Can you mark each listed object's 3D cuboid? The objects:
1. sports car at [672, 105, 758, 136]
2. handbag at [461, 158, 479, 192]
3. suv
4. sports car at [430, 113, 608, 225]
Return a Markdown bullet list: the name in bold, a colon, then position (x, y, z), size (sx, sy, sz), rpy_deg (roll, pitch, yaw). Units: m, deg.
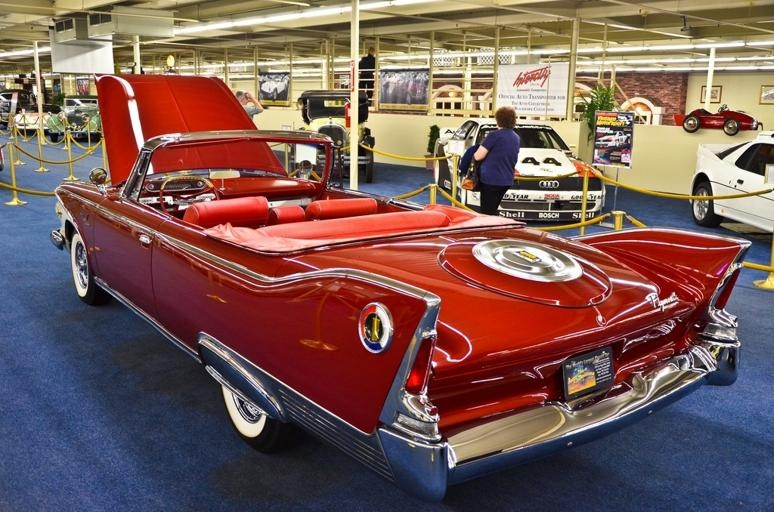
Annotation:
- **sports car**: position (8.235, -3.456, 12.090), size (1.882, 0.650, 1.398), rpy_deg (10, 14, 43)
- **handbag**: position (1.201, -1.185, 6.762), size (0.159, 0.407, 0.437), rpy_deg (-11, 21, -25)
- **suv**: position (-1.261, -3.089, 11.525), size (1.582, 1.699, 2.958), rpy_deg (0, 19, -3)
- **sports car**: position (2.376, -1.708, 9.038), size (1.885, 1.112, 3.184), rpy_deg (-2, 18, -20)
